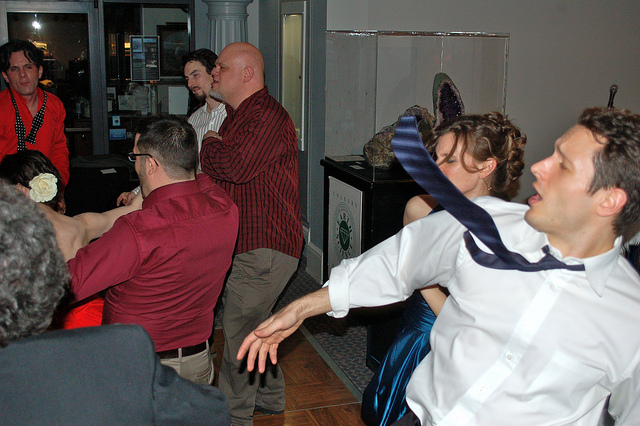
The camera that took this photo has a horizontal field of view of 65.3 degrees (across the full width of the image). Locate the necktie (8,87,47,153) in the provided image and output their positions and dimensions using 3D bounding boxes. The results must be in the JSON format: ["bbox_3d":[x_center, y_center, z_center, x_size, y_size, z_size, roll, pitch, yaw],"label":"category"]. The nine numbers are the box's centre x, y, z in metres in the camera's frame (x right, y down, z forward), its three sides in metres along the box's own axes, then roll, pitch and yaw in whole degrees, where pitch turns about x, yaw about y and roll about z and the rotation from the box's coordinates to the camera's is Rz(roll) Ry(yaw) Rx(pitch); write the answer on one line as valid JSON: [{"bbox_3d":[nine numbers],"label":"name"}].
[{"bbox_3d":[-2.216,-0.720,3.809,0.254,0.456,0.148,-6,14,-33],"label":"necktie"}]

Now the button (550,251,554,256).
[{"bbox_3d":[0.671,0.117,1.440,0.012,0.012,0.003,2,-2,40],"label":"button"}]

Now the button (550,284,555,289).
[{"bbox_3d":[0.667,0.212,1.431,0.013,0.014,0.003,-1,-4,15],"label":"button"}]

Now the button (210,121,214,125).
[{"bbox_3d":[-0.770,-0.640,3.531,0.029,0.017,0.021,6,6,41],"label":"button"}]
